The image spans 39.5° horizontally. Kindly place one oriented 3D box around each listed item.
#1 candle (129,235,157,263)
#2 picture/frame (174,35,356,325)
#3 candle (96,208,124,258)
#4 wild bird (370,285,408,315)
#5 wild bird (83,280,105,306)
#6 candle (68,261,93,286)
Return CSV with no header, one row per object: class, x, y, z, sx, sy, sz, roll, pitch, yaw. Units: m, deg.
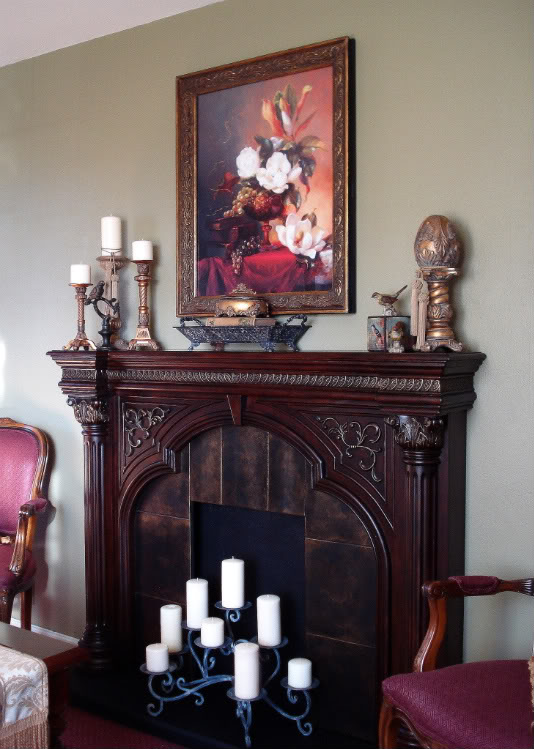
candle,-0.483,-0.492,2.971,0.107,0.111,0.107,-1,-1,33
picture/frame,-0.033,-0.683,2.719,0.793,0.947,0.114,0,-2,36
candle,-0.642,-0.559,3.087,0.081,0.165,0.202,1,-1,-15
wild bird,0.383,-0.234,2.396,0.130,0.103,0.088,1,8,5
wild bird,-0.687,-0.327,2.983,0.076,0.097,0.162,1,-1,-13
candle,-0.752,-0.417,3.069,0.105,0.107,0.101,-3,11,-34
